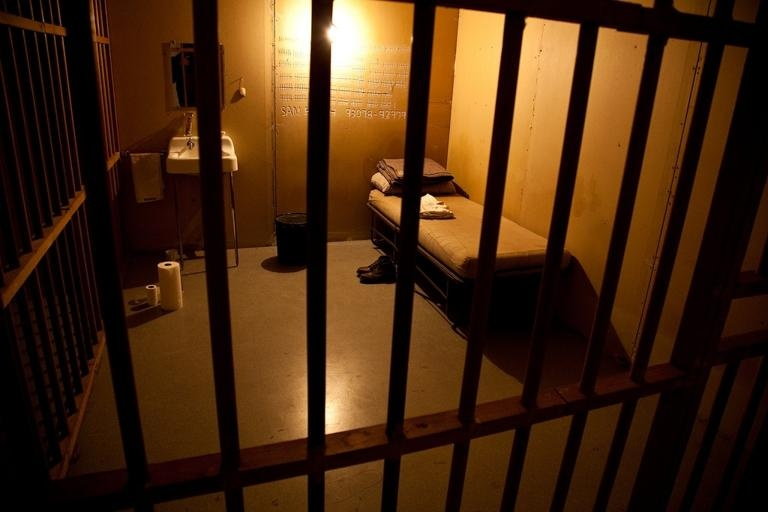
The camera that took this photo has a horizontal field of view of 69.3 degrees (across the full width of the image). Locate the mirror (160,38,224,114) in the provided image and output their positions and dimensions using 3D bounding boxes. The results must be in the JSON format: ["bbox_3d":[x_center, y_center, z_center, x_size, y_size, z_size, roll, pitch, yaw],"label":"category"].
[{"bbox_3d":[-1.919,-1.707,5.242,0.267,0.226,0.605,0,-61,-9],"label":"mirror"}]

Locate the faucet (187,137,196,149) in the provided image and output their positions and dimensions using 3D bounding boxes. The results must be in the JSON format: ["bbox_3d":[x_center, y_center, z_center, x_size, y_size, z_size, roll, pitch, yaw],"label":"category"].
[{"bbox_3d":[-1.826,-1.077,5.284,0.045,0.071,0.103,0,-85,28],"label":"faucet"}]

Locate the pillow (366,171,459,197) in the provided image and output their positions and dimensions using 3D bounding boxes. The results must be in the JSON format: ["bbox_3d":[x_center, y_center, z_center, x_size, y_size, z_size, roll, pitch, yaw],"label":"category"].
[{"bbox_3d":[0.362,-0.748,6.003,0.735,0.750,0.208,-5,-68,-17],"label":"pillow"}]

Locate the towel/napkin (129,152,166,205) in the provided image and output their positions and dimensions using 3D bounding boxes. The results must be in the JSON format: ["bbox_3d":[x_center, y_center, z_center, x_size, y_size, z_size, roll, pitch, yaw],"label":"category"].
[{"bbox_3d":[-2.248,-0.751,5.318,0.270,0.054,0.484,-7,-96,-18],"label":"towel/napkin"}]

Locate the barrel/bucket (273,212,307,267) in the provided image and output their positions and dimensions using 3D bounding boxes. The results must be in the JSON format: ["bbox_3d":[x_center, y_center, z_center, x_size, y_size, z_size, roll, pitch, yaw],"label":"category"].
[{"bbox_3d":[-0.901,-0.152,5.380,0.367,0.376,0.395,-10,-59,-18],"label":"barrel/bucket"}]

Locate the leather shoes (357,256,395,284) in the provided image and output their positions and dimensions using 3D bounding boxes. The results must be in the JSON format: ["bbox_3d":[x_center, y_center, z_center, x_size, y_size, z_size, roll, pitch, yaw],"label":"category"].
[{"bbox_3d":[-0.052,0.133,5.401,0.345,0.222,0.141,1,-68,-24],"label":"leather shoes"}]

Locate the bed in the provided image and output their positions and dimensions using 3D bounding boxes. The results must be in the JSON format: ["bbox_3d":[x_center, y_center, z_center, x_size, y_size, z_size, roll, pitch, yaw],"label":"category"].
[{"bbox_3d":[0.673,-0.151,5.404,1.179,2.209,0.551,-6,-67,-25],"label":"bed"}]
